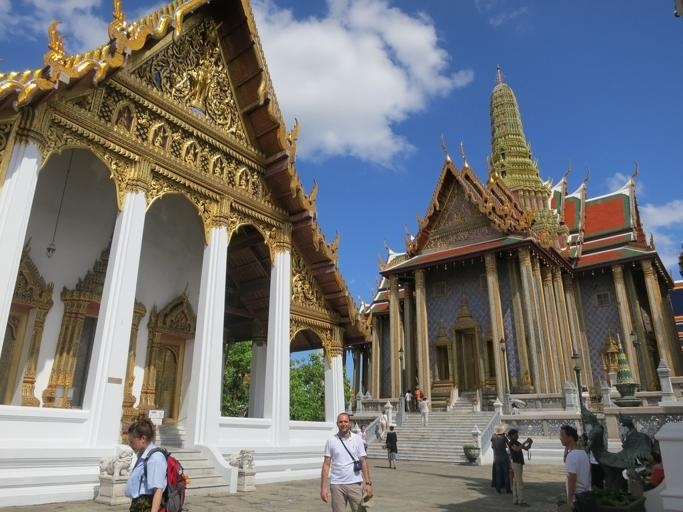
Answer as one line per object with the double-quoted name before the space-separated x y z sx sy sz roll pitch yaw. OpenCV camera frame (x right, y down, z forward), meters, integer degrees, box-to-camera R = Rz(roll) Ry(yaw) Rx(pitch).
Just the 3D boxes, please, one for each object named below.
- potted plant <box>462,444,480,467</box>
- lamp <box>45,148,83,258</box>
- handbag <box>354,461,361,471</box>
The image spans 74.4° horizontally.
"potted plant" 3.803 5.844 13.291 0.445 0.499 0.485 -4 -27 10
"lamp" -5.886 -1.072 9.460 0.178 2.168 0.541 12 -23 -34
"handbag" 0.171 2.269 4.868 0.087 0.118 0.040 -1 -19 0
